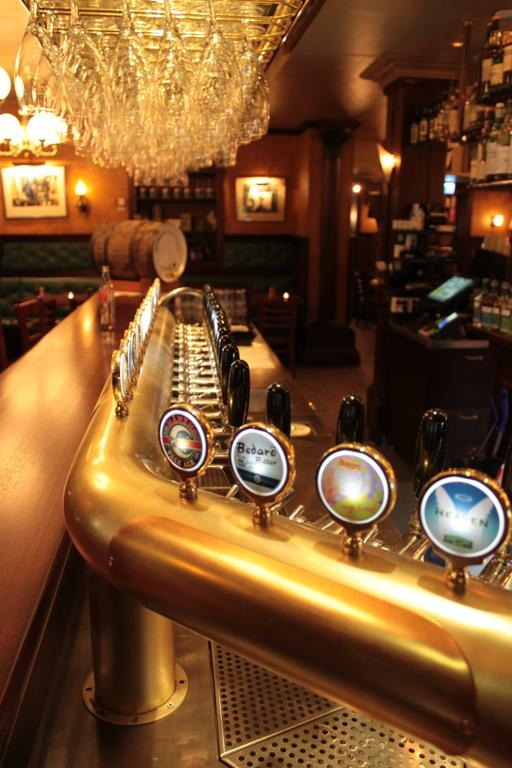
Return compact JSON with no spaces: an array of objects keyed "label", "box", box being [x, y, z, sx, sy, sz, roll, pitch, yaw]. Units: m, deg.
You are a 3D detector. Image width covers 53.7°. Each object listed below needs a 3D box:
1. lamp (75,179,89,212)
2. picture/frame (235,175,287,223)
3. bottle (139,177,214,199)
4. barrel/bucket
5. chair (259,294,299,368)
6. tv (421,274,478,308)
[{"label":"lamp","box":[-2.718,-2.916,7.906,0.202,0.508,0.287,-6,20,-16]},{"label":"picture/frame","box":[0.057,-3.200,8.644,0.710,0.636,0.100,0,17,-4]},{"label":"bottle","box":[-1.273,-3.169,8.184,1.203,0.345,0.320,-1,20,-4]},{"label":"barrel/bucket","box":[-0.865,-1.031,3.962,0.856,0.468,0.482,17,26,39]},{"label":"chair","box":[0.333,-0.763,7.483,0.531,1.118,1.269,1,20,4]},{"label":"tv","box":[1.689,-0.796,4.389,0.395,0.078,0.705,18,43,35]}]
